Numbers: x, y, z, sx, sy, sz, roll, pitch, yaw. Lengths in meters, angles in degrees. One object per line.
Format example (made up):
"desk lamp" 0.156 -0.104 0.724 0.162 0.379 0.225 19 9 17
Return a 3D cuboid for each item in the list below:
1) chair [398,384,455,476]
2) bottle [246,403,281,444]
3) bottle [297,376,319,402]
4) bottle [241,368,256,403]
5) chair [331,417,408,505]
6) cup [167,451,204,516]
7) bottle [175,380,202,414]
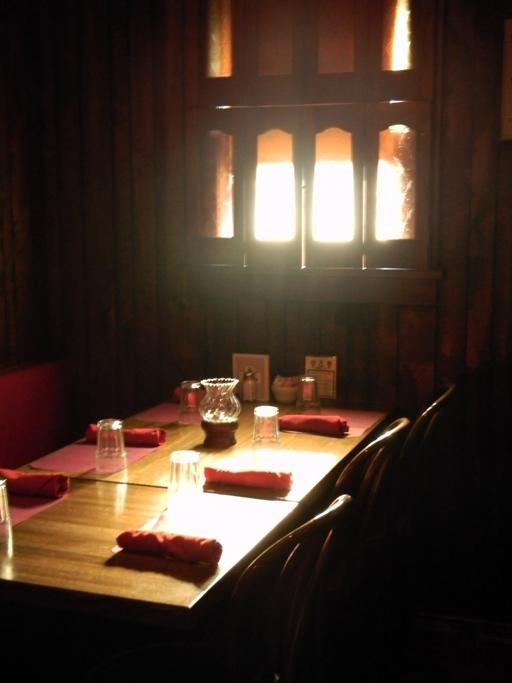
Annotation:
"chair" 0.539 0.298 1.964 0.093 0.258 0.360 6 15 32
"bottle" 0.018 0.230 1.773 0.073 0.132 0.084 0 0 -3
"bottle" 0.200 0.183 2.444 0.072 0.126 0.078 0 1 0
"bottle" -0.028 0.176 2.530 0.060 0.128 0.057 -1 11 0
"chair" 0.286 0.276 1.595 0.187 0.335 0.219 2 6 7
"cup" -0.149 0.306 1.365 0.092 0.193 0.100 1 -1 0
"bottle" -0.249 0.199 2.274 0.088 0.129 0.100 1 1 0
